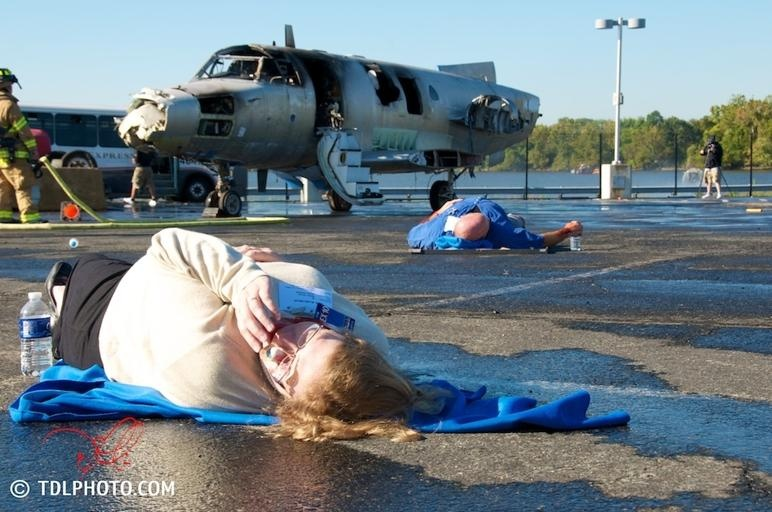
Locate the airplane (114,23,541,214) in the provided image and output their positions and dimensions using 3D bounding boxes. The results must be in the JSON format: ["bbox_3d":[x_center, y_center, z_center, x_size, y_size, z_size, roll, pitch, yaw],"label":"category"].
[{"bbox_3d":[-1.663,-2.672,25.390,4.674,2.689,9.554,2,1,43],"label":"airplane"}]

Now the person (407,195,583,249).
[{"bbox_3d":[1.325,-0.424,16.344,2.064,0.676,0.662,-1,7,-1],"label":"person"}]
